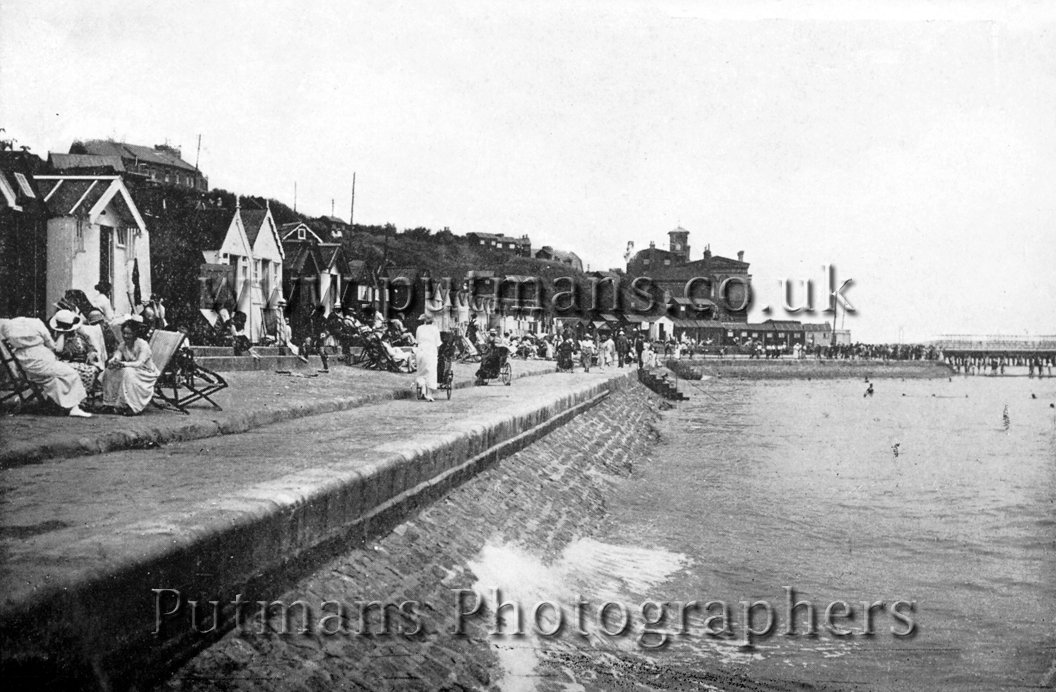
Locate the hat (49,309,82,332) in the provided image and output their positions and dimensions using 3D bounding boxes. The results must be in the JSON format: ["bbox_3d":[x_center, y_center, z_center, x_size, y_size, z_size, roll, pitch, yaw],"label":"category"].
[{"bbox_3d":[-7.160,-0.316,16.491,0.374,0.103,0.392,-15,51,-26],"label":"hat"}]

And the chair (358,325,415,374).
[{"bbox_3d":[-4.020,0.172,30.989,1.004,0.922,1.790,0,-1,3],"label":"chair"}]
